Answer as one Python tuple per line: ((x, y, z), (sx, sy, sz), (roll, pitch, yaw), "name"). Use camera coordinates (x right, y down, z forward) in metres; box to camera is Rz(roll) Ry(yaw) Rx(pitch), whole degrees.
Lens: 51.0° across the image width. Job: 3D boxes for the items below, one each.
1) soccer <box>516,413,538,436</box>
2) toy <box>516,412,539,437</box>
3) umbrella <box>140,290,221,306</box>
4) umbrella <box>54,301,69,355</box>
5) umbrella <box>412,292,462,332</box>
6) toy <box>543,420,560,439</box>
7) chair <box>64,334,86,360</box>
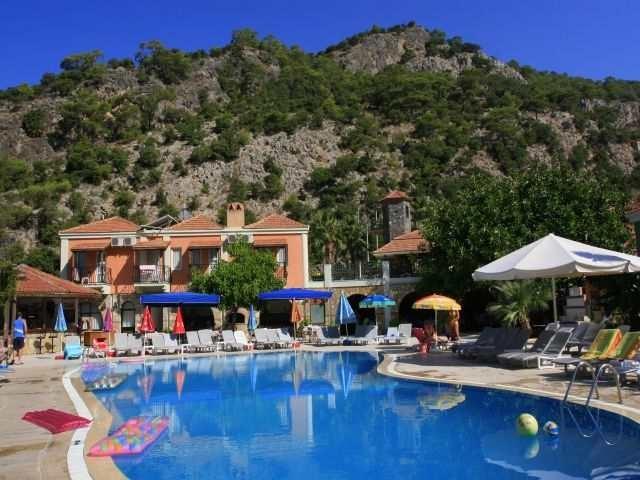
((4.947, 4.420, 16.105), (0.448, 0.506, 0.479), (-4, -22, 8), "soccer")
((4.951, 4.452, 16.106), (0.463, 0.518, 0.494), (-3, -24, 21), "toy")
((-6.598, 2.817, 31.478), (3.546, 0.663, 1.004), (0, -5, -24), "umbrella")
((-11.575, 4.008, 29.862), (0.629, 2.340, 0.608), (0, -5, -35), "umbrella")
((4.910, 2.983, 28.525), (1.792, 1.247, 1.811), (-2, 1, -39), "umbrella")
((5.621, 4.572, 16.182), (0.462, 0.336, 0.412), (-2, -4, -4), "toy")
((-10.272, 4.509, 27.917), (0.769, 0.914, 0.934), (0, -4, -18), "chair")
